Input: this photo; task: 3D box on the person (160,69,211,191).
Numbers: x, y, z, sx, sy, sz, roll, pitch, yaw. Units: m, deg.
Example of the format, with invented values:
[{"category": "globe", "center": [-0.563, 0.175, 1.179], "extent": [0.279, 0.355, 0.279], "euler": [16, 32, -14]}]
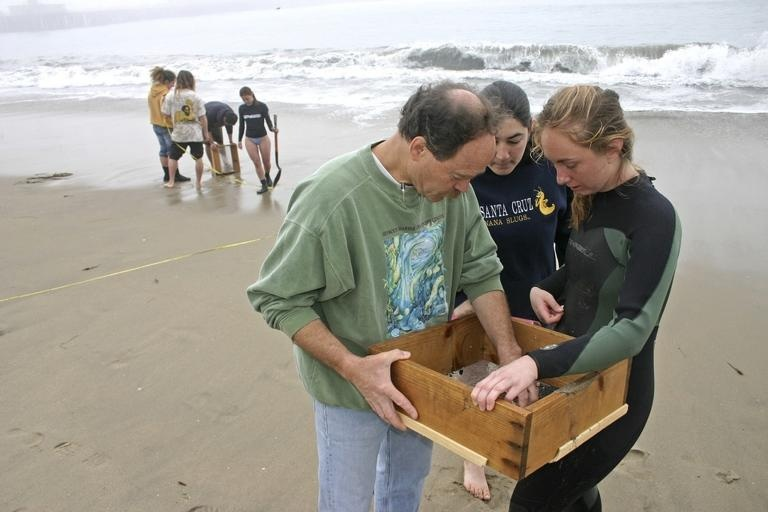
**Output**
[{"category": "person", "center": [-3.469, -2.176, 10.082], "extent": [0.796, 1.929, 0.649], "euler": [-8, 23, -15]}]
